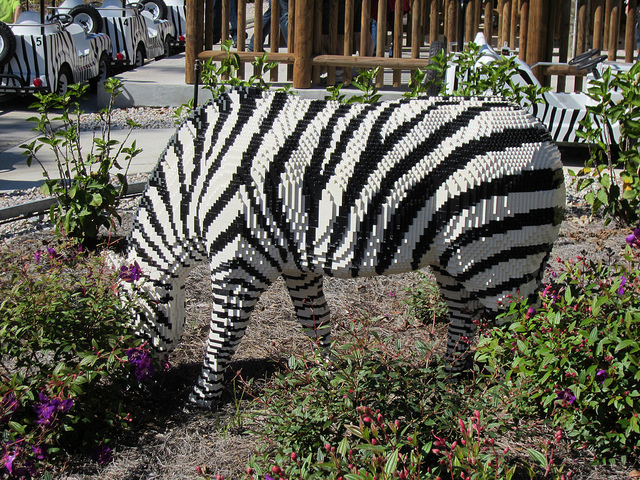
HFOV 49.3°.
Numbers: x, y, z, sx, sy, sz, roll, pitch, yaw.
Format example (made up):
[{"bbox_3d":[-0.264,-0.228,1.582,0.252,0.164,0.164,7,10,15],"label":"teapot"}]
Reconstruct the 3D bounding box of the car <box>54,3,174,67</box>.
[{"bbox_3d":[-4.098,-4.456,15.036,1.337,1.177,2.517,9,29,17],"label":"car"}]

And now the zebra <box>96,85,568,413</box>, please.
[{"bbox_3d":[-0.058,0.049,4.099,2.588,1.923,0.760,-5,16,5],"label":"zebra"}]
